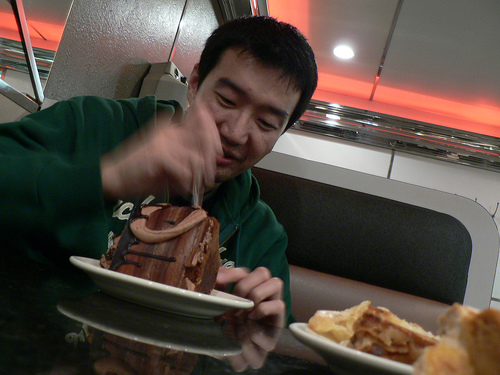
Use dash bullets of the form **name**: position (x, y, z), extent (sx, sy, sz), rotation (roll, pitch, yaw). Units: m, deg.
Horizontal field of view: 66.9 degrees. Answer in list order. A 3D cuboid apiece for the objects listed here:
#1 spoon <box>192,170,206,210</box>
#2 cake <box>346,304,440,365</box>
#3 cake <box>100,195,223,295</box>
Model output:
- **spoon**: position (-0.105, 0.006, 0.755), extent (0.022, 0.094, 0.028), rotation (-12, -34, 22)
- **cake**: position (0.181, 0.182, 0.476), extent (0.096, 0.036, 0.074), rotation (8, 12, -25)
- **cake**: position (-0.112, 0.107, 0.625), extent (0.046, 0.169, 0.173), rotation (-7, -44, 47)
